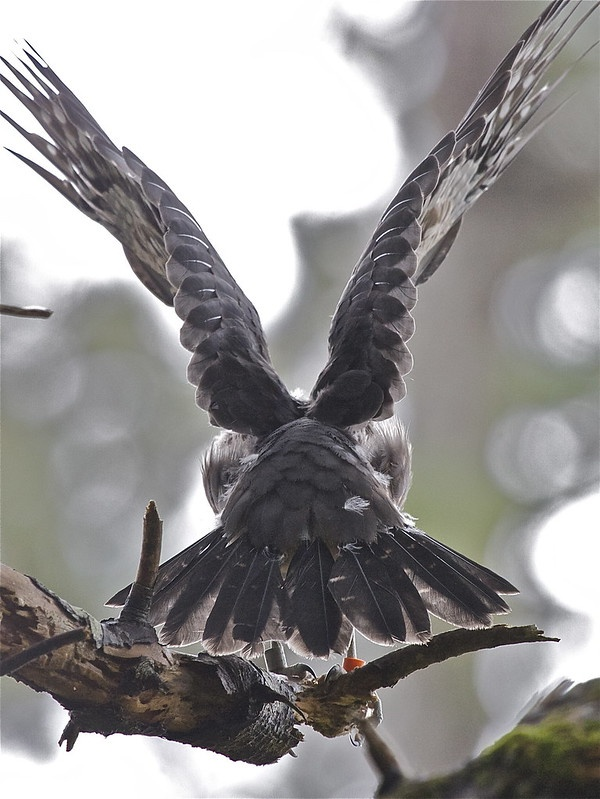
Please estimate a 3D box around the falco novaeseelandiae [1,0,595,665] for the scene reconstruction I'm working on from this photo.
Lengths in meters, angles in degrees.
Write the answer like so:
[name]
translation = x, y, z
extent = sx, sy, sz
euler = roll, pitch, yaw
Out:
[falco novaeseelandiae]
translation = -0.111, -0.132, 3.947
extent = 1.368, 1.689, 1.322
euler = 8, -70, -1
